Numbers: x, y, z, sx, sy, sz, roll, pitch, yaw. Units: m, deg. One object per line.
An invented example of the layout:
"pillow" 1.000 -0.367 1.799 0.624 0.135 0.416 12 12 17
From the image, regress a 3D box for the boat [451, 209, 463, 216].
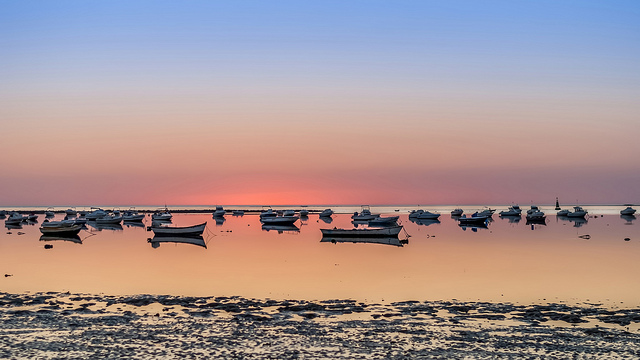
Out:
"boat" 25.158 6.239 249.183 3.229 1.203 4.290 1 3 10

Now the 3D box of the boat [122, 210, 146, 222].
"boat" -31.118 6.445 224.133 3.424 1.859 3.541 1 -11 -7

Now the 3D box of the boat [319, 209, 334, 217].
"boat" 1.115 6.765 269.162 3.651 0.988 4.094 -1 3 0

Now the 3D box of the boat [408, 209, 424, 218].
"boat" 17.515 6.410 247.478 4.141 1.166 4.560 1 2 13
